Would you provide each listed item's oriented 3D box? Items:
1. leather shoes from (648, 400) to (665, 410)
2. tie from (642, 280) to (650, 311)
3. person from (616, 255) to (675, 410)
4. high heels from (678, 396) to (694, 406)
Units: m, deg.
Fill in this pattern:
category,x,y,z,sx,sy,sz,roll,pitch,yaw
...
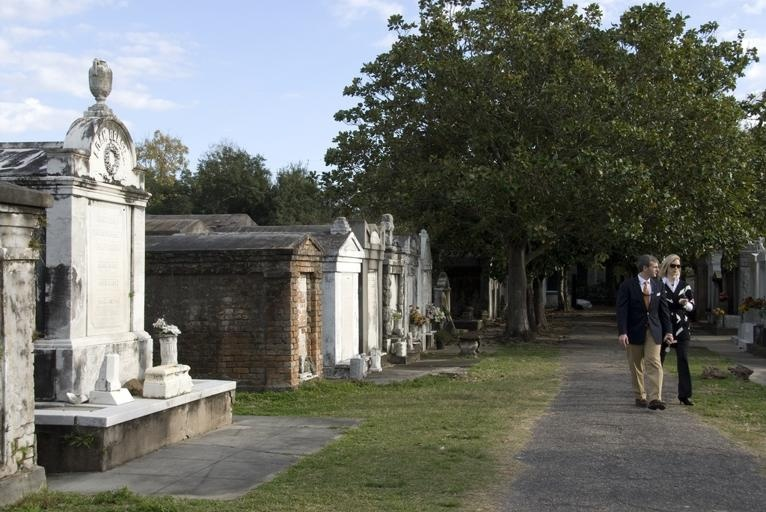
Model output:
category,x,y,z,sx,sy,sz,roll,pitch,yaw
leather shoes,4.983,2.930,18.037,0.280,0.263,0.151,-16,1,25
tie,4.793,0.785,17.974,0.134,0.510,0.173,0,5,15
person,4.771,1.527,18.047,0.986,2.993,0.654,0,5,13
high heels,5.700,2.960,18.600,0.318,0.133,0.117,-4,-2,37
